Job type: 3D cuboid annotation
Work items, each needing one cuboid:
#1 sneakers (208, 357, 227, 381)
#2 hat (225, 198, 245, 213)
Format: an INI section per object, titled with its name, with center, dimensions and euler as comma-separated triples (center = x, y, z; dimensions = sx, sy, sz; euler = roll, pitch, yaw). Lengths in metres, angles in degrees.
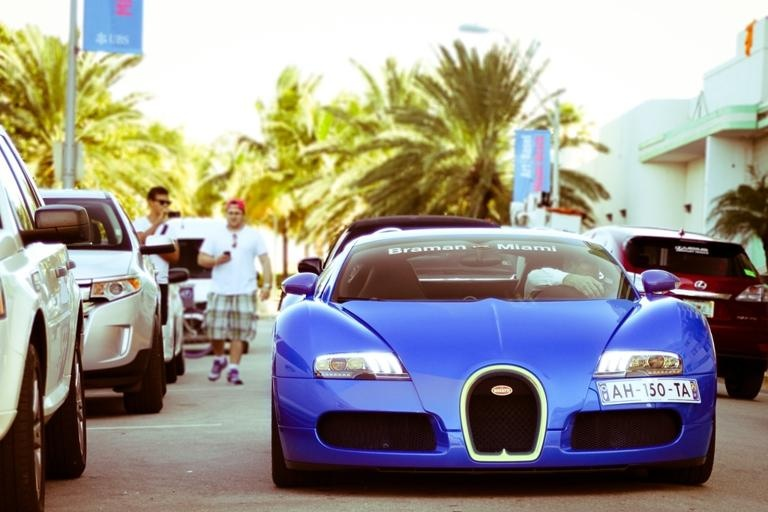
[sneakers]
center = -2.587, 1.805, 11.369
dimensions = 0.140, 0.427, 0.188
euler = 10, -14, 20
[hat]
center = -2.208, -0.803, 10.894
dimensions = 0.234, 0.133, 0.267
euler = 2, -7, -8
